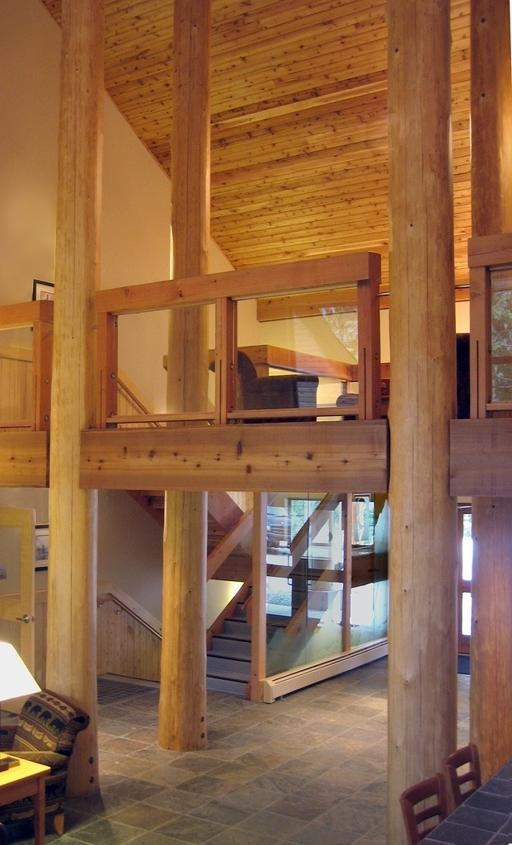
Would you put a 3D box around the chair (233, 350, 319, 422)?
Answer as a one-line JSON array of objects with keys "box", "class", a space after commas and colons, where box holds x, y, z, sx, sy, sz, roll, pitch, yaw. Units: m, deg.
[{"box": [0.113, -0.156, 4.078, 0.363, 0.436, 0.391, -3, -4, 20], "class": "chair"}]

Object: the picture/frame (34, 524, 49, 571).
[{"box": [-2.270, 1.326, 7.822, 0.093, 0.479, 0.241, 0, -7, 10], "class": "picture/frame"}]
